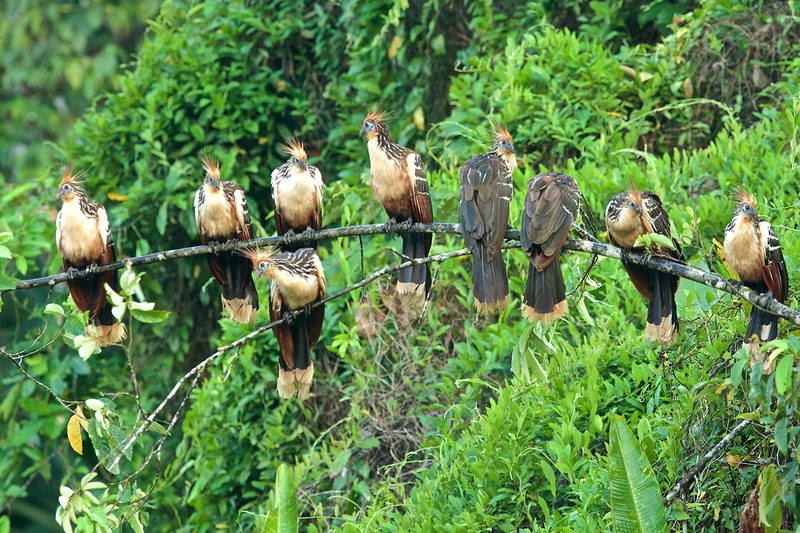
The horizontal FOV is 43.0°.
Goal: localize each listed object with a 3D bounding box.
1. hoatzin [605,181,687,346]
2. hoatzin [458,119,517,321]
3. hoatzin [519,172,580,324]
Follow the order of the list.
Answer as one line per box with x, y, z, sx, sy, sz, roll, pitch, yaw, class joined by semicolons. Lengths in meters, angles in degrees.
1.921;-0.044;7.949;0.435;1.441;0.612;-1;41;24;hoatzin
0.727;-0.412;8.110;0.330;1.516;0.442;-12;-23;35;hoatzin
1.144;-0.127;7.858;0.330;1.297;0.433;-1;-18;25;hoatzin
